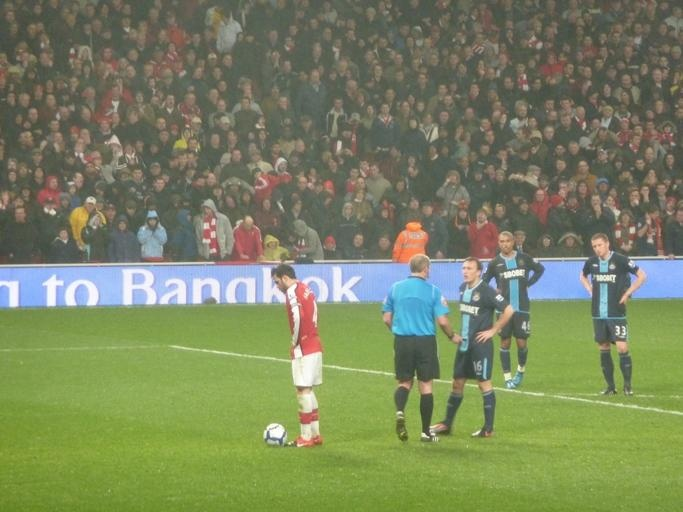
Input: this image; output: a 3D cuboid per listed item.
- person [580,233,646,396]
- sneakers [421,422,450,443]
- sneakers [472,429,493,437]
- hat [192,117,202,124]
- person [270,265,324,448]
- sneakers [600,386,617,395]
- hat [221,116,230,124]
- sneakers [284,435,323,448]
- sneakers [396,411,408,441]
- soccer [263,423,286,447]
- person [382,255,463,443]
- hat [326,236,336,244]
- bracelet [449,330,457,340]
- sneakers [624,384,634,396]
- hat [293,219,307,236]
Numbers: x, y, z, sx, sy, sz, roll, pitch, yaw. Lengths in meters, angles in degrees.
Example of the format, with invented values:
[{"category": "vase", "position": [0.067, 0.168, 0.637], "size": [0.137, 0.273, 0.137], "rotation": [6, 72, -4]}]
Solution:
[{"category": "person", "position": [5.225, 1.099, 23.269], "size": [0.980, 2.956, 1.273], "rotation": [-1, 13, -5]}, {"category": "sneakers", "position": [1.607, 3.052, 20.919], "size": [0.607, 0.249, 0.217], "rotation": [-7, 10, -43]}, {"category": "sneakers", "position": [2.447, 3.059, 21.033], "size": [0.340, 0.146, 0.137], "rotation": [1, -2, 6]}, {"category": "hat", "position": [-3.866, -3.641, 32.631], "size": [0.211, 0.167, 0.180], "rotation": [-20, 29, -29]}, {"category": "person", "position": [-0.684, 1.662, 20.607], "size": [0.705, 3.055, 0.867], "rotation": [-5, 14, -18]}, {"category": "sneakers", "position": [5.092, 2.569, 23.000], "size": [0.349, 0.154, 0.121], "rotation": [2, -2, -3]}, {"category": "hat", "position": [-3.136, -3.644, 32.645], "size": [0.245, 0.210, 0.534], "rotation": [-1, 14, -5]}, {"category": "sneakers", "position": [-0.640, 3.158, 20.594], "size": [0.619, 0.274, 0.212], "rotation": [4, -4, -8]}, {"category": "sneakers", "position": [0.999, 2.829, 20.229], "size": [0.168, 0.514, 0.213], "rotation": [-10, 7, -2]}, {"category": "soccer", "position": [-1.134, 3.046, 20.694], "size": [0.339, 0.351, 0.348], "rotation": [6, -21, 3]}, {"category": "person", "position": [1.287, 1.602, 20.630], "size": [1.154, 3.144, 1.315], "rotation": [1, 13, 5]}, {"category": "hat", "position": [-0.252, -0.390, 31.457], "size": [0.157, 0.223, 0.356], "rotation": [7, 15, 29]}, {"category": "bracelet", "position": [1.899, 1.364, 20.546], "size": [0.047, 0.102, 0.143], "rotation": [-31, -4, 11]}, {"category": "sneakers", "position": [5.470, 2.527, 23.034], "size": [0.165, 0.175, 0.340], "rotation": [3, 14, 13]}, {"category": "hat", "position": [-1.068, -0.727, 31.360], "size": [0.282, 0.330, 0.402], "rotation": [-28, 45, -1]}]
